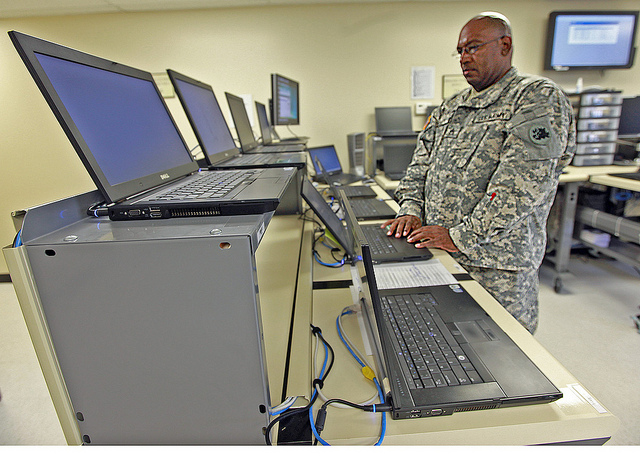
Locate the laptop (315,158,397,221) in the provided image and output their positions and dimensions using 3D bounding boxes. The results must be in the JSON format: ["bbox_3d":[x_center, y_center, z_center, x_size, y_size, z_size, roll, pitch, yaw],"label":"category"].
[{"bbox_3d":[0.208,-0.247,2.316,0.321,0.223,0.367,-2,20,-7],"label":"laptop"}]

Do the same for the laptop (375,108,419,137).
[{"bbox_3d":[0.699,-0.972,3.919,0.361,0.233,0.247,-3,25,-5],"label":"laptop"}]

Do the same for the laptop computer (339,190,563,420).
[{"bbox_3d":[0.350,0.173,1.437,0.577,0.520,0.727,-2,17,-3],"label":"laptop computer"}]

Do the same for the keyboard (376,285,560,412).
[{"bbox_3d":[0.436,0.390,1.329,0.364,0.050,0.471,0,26,-9],"label":"keyboard"}]

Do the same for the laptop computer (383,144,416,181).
[{"bbox_3d":[0.676,-0.521,3.405,0.301,0.256,0.231,-3,18,-12],"label":"laptop computer"}]

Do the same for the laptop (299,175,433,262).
[{"bbox_3d":[0.197,-0.054,1.889,0.526,0.285,0.544,-3,17,9],"label":"laptop"}]

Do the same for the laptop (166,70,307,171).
[{"bbox_3d":[-0.327,-0.421,1.907,0.519,0.370,0.605,1,18,-1],"label":"laptop"}]

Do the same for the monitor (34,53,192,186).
[{"bbox_3d":[-0.587,-0.331,1.355,0.011,0.429,0.616,-22,10,12],"label":"monitor"}]

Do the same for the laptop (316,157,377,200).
[{"bbox_3d":[0.173,-0.336,2.701,0.310,0.197,0.328,-5,24,-8],"label":"laptop"}]

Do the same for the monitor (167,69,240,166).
[{"bbox_3d":[-0.520,-0.497,1.940,0.013,0.332,0.539,-21,31,-28],"label":"monitor"}]

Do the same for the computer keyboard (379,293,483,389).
[{"bbox_3d":[0.346,0.351,1.424,0.273,0.020,0.517,-5,24,1],"label":"computer keyboard"}]

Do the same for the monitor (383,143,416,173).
[{"bbox_3d":[0.609,-0.564,3.396,0.274,0.245,0.217,1,-7,23],"label":"monitor"}]

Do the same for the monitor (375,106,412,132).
[{"bbox_3d":[0.681,-1.020,3.998,0.276,0.182,0.028,-1,1,-2],"label":"monitor"}]

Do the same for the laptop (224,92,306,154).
[{"bbox_3d":[-0.284,-0.630,2.592,0.442,0.315,0.559,3,14,10],"label":"laptop"}]

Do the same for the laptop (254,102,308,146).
[{"bbox_3d":[-0.273,-0.822,3.345,0.418,0.330,0.501,1,15,-2],"label":"laptop"}]

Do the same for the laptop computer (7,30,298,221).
[{"bbox_3d":[-0.457,-0.247,1.344,0.585,0.427,0.649,1,14,2],"label":"laptop computer"}]

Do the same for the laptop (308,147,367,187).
[{"bbox_3d":[0.131,-0.534,3.562,0.402,0.276,0.456,14,19,8],"label":"laptop"}]
